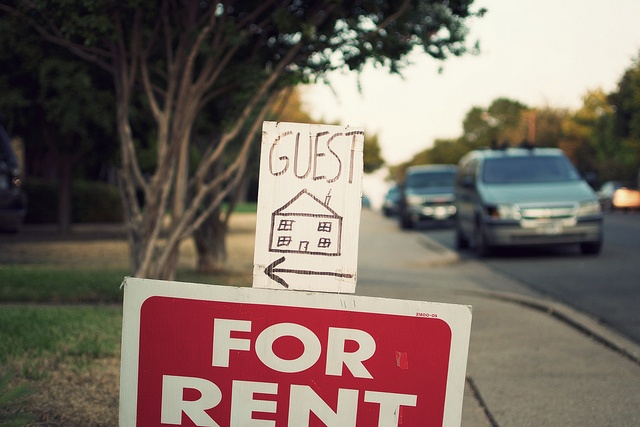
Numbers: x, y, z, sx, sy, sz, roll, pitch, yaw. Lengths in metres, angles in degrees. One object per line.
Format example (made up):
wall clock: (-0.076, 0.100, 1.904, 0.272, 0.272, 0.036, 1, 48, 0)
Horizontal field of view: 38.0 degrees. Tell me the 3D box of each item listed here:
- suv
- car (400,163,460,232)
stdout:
suv: (2.724, -0.118, 13.208, 1.134, 1.629, 3.619, -2, 4, -8)
car: (3.015, -0.535, 26.154, 1.057, 1.226, 2.140, -1, -4, -1)
